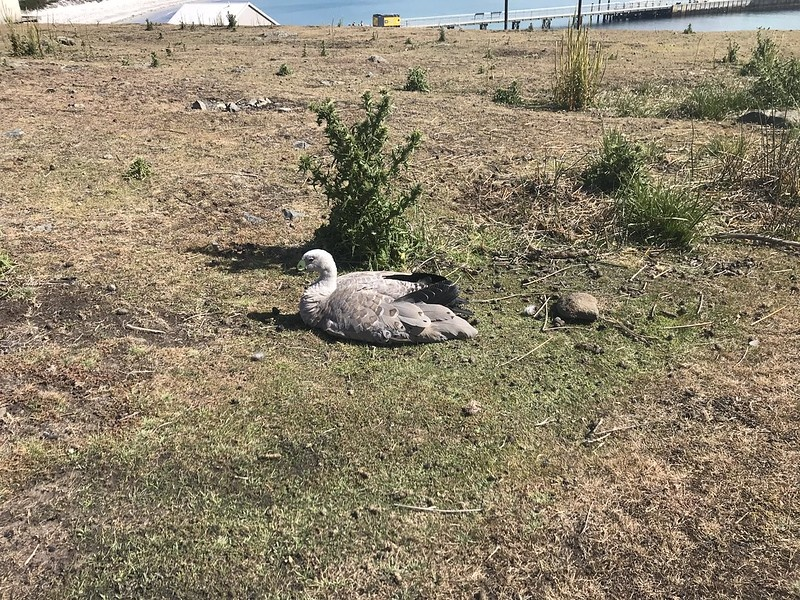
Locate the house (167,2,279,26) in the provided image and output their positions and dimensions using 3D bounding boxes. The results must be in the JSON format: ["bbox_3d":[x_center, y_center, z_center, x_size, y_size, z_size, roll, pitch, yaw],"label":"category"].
[{"bbox_3d":[-6.408,-10.446,26.520,2.900,0.732,6.544,2,25,-4],"label":"house"}]
